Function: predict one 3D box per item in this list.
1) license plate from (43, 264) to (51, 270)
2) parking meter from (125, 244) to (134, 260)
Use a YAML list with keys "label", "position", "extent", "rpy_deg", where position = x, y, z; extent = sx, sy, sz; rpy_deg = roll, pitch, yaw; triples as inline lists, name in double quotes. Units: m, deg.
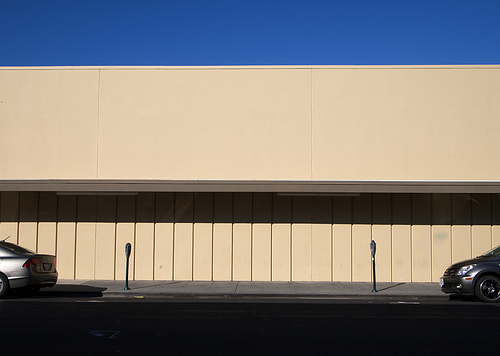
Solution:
- label: "license plate"
  position: [-6.865, 2.968, 23.205]
  extent: [0.218, 0.201, 0.073]
  rpy_deg: [1, -10, -19]
- label: "parking meter"
  position: [-4.447, 2.710, 25.270]
  extent: [0.211, 0.845, 0.218]
  rpy_deg: [0, 4, 2]
